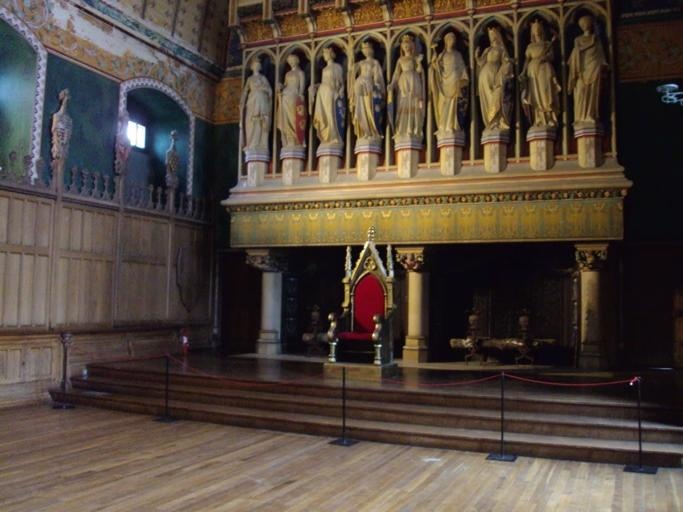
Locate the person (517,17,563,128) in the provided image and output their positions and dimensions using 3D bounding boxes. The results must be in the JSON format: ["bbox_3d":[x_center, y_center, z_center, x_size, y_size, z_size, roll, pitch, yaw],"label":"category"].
[{"bbox_3d":[4.058,-3.723,13.954,0.780,2.125,0.352,1,8,15],"label":"person"}]

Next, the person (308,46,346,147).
[{"bbox_3d":[-0.283,-3.623,15.433,0.732,2.176,0.470,-1,8,-1],"label":"person"}]

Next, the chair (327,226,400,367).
[{"bbox_3d":[0.402,0.757,12.832,1.191,2.473,1.303,1,8,18],"label":"chair"}]

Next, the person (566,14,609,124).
[{"bbox_3d":[4.949,-3.736,13.700,0.737,2.200,0.469,2,8,20],"label":"person"}]

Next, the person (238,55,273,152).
[{"bbox_3d":[-2.016,-3.549,16.055,0.687,2.203,0.509,2,8,20],"label":"person"}]

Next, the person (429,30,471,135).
[{"bbox_3d":[2.288,-3.676,14.539,0.834,2.184,0.520,0,8,10],"label":"person"}]

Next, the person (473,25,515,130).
[{"bbox_3d":[3.192,-3.732,14.282,0.776,2.158,0.525,1,8,19],"label":"person"}]

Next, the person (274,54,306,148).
[{"bbox_3d":[-1.178,-3.615,15.802,0.685,2.133,0.491,3,9,30],"label":"person"}]

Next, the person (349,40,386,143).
[{"bbox_3d":[0.569,-3.690,15.157,0.803,2.112,0.533,-1,8,1],"label":"person"}]

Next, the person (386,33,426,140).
[{"bbox_3d":[1.405,-3.678,14.811,0.821,2.231,0.471,0,8,7],"label":"person"}]
